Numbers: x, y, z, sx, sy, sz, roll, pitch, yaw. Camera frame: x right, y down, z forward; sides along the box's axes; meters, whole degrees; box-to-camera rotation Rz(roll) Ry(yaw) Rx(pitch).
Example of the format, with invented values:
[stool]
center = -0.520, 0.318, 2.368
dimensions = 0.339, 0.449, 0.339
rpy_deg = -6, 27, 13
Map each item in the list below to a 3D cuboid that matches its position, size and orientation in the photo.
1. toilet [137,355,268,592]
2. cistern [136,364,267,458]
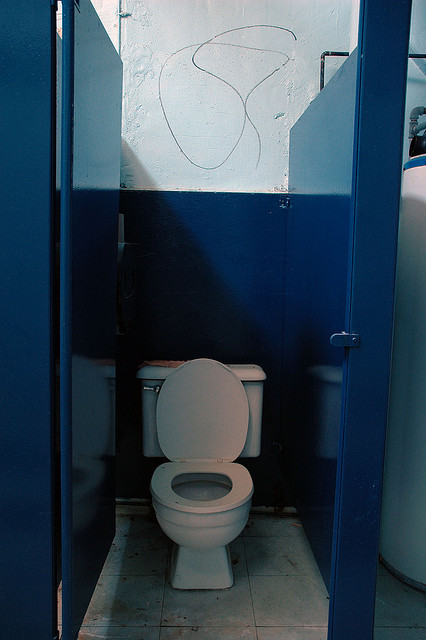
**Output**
[toilet]
center = -0.038, 0.497, 2.123
dimensions = 0.387, 0.712, 0.591
rpy_deg = 1, 9, -2
[cistern]
center = 0.040, 0.317, 2.375
dimensions = 0.211, 0.306, 0.368
rpy_deg = 14, -23, -25
